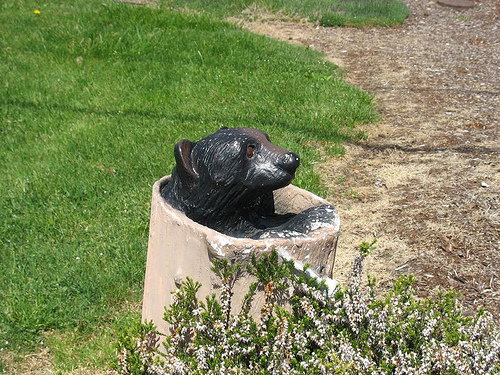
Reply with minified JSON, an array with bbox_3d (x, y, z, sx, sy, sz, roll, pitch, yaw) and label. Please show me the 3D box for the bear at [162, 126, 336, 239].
[{"bbox_3d":[0.042,-0.055,12.646,1.577,0.994,1.256,5,15,17],"label":"bear"}]
